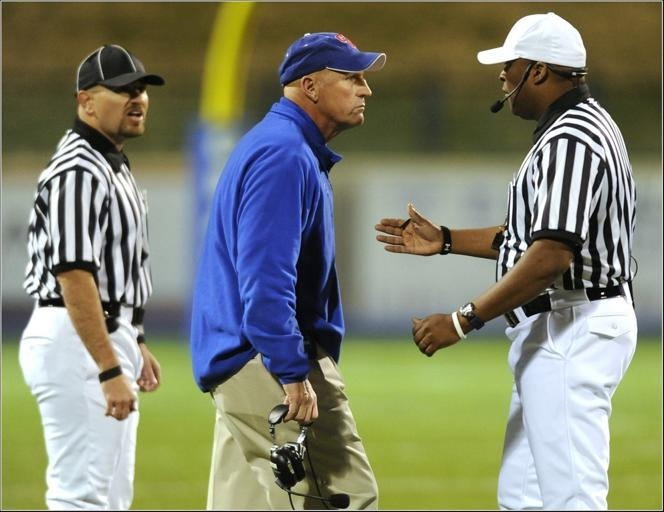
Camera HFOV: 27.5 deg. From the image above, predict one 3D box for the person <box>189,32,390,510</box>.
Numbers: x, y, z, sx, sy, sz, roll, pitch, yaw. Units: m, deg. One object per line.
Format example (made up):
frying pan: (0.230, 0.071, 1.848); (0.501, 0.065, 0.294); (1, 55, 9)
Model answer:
person: (-0.368, 0.122, 10.089); (1.324, 3.629, 0.530); (2, 2, -7)

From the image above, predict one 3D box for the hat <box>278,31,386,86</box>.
hat: (0.055, -1.554, 10.342); (0.644, 0.435, 0.360); (13, 17, 33)

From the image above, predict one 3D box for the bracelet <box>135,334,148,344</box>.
bracelet: (-1.496, 0.651, 10.574); (0.062, 0.063, 0.064); (-2, -3, 12)

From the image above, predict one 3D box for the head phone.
head phone: (-0.334, 1.395, 10.031); (0.198, 0.590, 0.471); (0, -2, 23)

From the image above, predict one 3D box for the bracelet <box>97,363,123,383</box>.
bracelet: (-1.656, 0.889, 10.137); (0.130, 0.053, 0.137); (-19, 2, 31)

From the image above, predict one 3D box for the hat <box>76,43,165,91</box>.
hat: (-1.667, -1.488, 10.558); (0.689, 0.346, 0.526); (-5, 4, 19)

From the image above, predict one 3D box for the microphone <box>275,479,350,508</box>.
microphone: (-0.127, 1.797, 10.039); (0.508, 0.217, 0.244); (2, 2, 2)

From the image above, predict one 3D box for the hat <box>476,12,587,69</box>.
hat: (1.552, -1.680, 10.462); (0.814, 0.464, 0.549); (0, 3, 16)

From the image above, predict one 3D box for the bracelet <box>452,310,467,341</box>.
bracelet: (0.953, 0.538, 10.184); (0.049, 0.169, 0.148); (-18, 37, 5)
